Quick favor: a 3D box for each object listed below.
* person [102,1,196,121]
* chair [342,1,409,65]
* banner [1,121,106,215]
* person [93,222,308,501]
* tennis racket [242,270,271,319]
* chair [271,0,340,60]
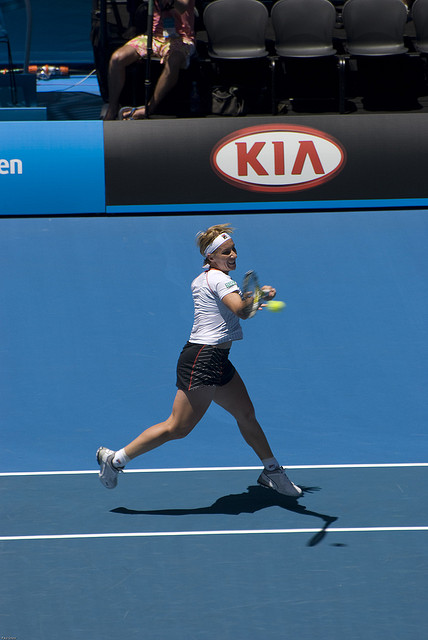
[{"bbox_3d":[-0.495,-1.992,5.391,0.703,0.976,0.876,-2,11,-2],"label":"person"},{"bbox_3d":[1.344,-2.419,5.944,0.552,0.530,0.377,0,12,9],"label":"chair"},{"bbox_3d":[-1.066,-0.999,4.825,0.760,0.459,0.623,0,29,-3],"label":"banner"},{"bbox_3d":[-0.071,0.293,4.060,1.082,1.642,0.541,1,13,13],"label":"person"},{"bbox_3d":[0.205,-0.160,3.762,0.153,0.293,0.109,10,-17,8],"label":"tennis racket"},{"bbox_3d":[0.770,-2.472,6.106,0.742,0.514,0.538,-2,38,4],"label":"chair"}]
